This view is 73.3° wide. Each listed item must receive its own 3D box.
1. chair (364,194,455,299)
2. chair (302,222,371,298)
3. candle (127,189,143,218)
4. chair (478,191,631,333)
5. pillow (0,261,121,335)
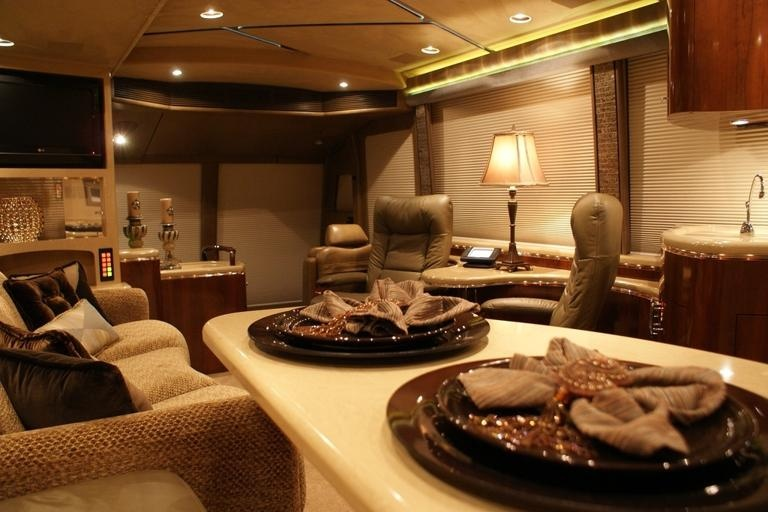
[{"bbox_3d":[0.353,-0.115,4.574,0.732,0.995,0.829,3,6,26],"label":"chair"},{"bbox_3d":[-0.454,0.066,4.980,0.808,0.858,0.663,0,2,-21],"label":"chair"},{"bbox_3d":[-1.943,-0.389,3.998,0.076,0.193,0.233,-5,7,-21],"label":"candle"},{"bbox_3d":[0.816,0.024,2.437,0.509,0.632,0.556,-6,11,-36],"label":"chair"},{"bbox_3d":[-1.583,0.127,2.496,0.140,0.427,0.430,-35,-9,12],"label":"pillow"}]
